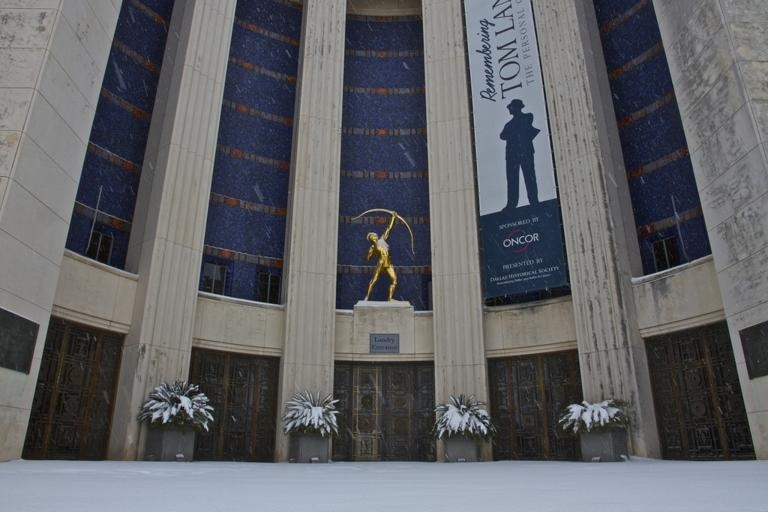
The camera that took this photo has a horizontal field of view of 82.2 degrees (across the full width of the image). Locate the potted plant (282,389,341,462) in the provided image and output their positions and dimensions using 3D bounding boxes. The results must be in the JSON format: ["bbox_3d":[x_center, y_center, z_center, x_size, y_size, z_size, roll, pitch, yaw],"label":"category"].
[{"bbox_3d":[-2.754,6.060,15.733,2.258,2.303,2.244,3,-24,-9],"label":"potted plant"}]

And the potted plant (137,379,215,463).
[{"bbox_3d":[-6.568,5.106,13.890,2.100,2.292,1.940,21,-16,-33],"label":"potted plant"}]

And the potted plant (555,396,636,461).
[{"bbox_3d":[6.687,5.609,14.434,1.919,1.755,1.935,-6,-14,30],"label":"potted plant"}]

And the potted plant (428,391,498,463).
[{"bbox_3d":[2.590,6.160,15.798,1.942,2.119,2.244,-6,-19,14],"label":"potted plant"}]
